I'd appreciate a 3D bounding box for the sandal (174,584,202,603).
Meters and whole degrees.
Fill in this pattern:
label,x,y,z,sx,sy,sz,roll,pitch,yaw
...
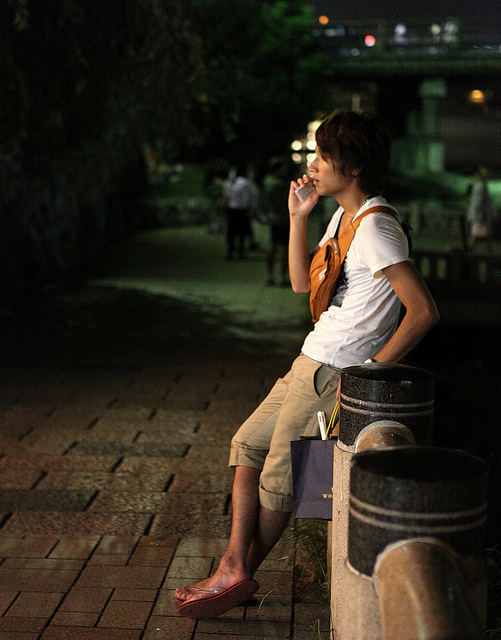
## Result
label,x,y,z,sx,sy,sz,roll,pitch,yaw
sandal,-0.233,0.991,2.516,0.161,0.035,0.056,-1,-1,2

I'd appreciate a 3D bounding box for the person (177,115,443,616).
label,x,y,z,sx,sy,sz,roll,pitch,yaw
person,0.208,0.229,2.483,0.777,1.864,0.895,6,13,6

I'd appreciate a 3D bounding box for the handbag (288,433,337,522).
label,x,y,z,sx,sy,sz,roll,pitch,yaw
handbag,0.202,0.516,2.308,0.153,0.288,0.100,5,13,2

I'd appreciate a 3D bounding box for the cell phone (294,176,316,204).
label,x,y,z,sx,sy,sz,roll,pitch,yaw
cell phone,0.213,-0.490,2.666,0.106,0.060,0.026,-51,20,-22

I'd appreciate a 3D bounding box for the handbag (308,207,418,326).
label,x,y,z,sx,sy,sz,roll,pitch,yaw
handbag,0.370,-0.173,2.362,0.335,0.424,0.481,5,12,6
